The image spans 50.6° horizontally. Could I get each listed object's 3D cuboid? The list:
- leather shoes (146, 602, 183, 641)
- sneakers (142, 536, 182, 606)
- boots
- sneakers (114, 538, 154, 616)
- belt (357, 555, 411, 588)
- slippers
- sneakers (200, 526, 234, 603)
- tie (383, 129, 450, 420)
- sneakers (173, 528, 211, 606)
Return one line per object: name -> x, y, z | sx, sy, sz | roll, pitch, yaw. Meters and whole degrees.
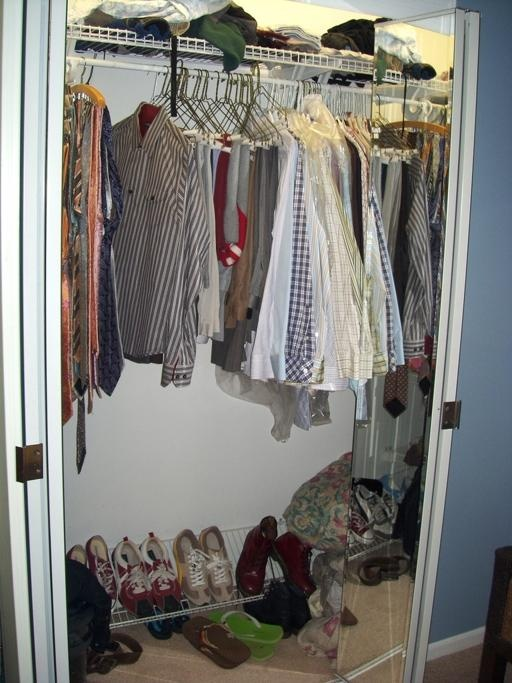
leather shoes -> -0.316, 0.930, 1.867 | 0.090, 0.047, 0.132 | -6, 23, -16
sneakers -> -0.344, 0.822, 1.946 | 0.088, 0.094, 0.264 | -2, 49, -37
boots -> -0.002, 0.813, 2.013 | 0.098, 0.328, 0.216 | 17, -34, -19
sneakers -> -0.424, 0.819, 1.870 | 0.113, 0.208, 0.199 | -3, 10, -30
belt -> 0.356, 0.644, 1.501 | 0.127, 0.081, 0.057 | -36, 7, 33
slippers -> -0.081, 0.990, 1.838 | 0.304, 0.051, 0.256 | 9, 12, 34
sneakers -> -0.152, 0.818, 2.042 | 0.095, 0.267, 0.092 | 0, -32, -34
tie -> 0.395, -0.150, 1.353 | 0.079, 0.747, 0.218 | -2, 9, -23
sneakers -> -0.229, 0.814, 1.985 | 0.090, 0.113, 0.294 | 1, 50, -29
